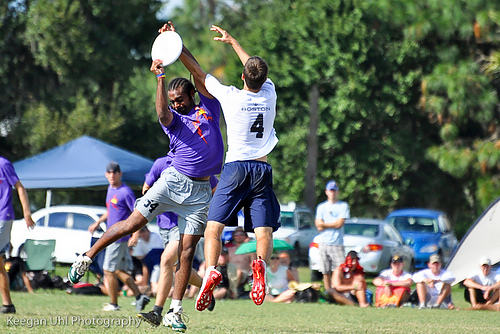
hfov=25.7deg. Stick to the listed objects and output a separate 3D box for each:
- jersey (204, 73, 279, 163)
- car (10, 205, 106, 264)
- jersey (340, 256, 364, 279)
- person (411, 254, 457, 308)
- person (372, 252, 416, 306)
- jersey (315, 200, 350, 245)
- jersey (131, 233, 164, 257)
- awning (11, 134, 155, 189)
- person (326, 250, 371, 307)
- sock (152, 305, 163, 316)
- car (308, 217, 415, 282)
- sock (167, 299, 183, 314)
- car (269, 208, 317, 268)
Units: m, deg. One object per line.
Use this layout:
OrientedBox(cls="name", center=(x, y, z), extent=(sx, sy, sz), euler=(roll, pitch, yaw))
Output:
OrientedBox(cls="jersey", center=(-0.102, -1.038, 25.056), extent=(1.801, 3.139, 1.761), euler=(-5, 29, -7))
OrientedBox(cls="car", center=(-5.909, 2.232, 33.854), extent=(3.842, 1.478, 1.837), euler=(-4, 0, 2))
OrientedBox(cls="jersey", center=(2.780, 2.738, 29.578), extent=(0.556, 0.443, 0.466), euler=(8, -15, -1))
OrientedBox(cls="person", center=(4.908, 3.108, 29.179), extent=(0.968, 1.308, 1.250), euler=(-1, -8, 8))
OrientedBox(cls="person", center=(3.915, 3.100, 29.883), extent=(0.845, 1.482, 0.818), euler=(4, -28, 13))
OrientedBox(cls="jersey", center=(2.294, 1.548, 30.291), extent=(0.906, 1.237, 0.492), euler=(4, -6, 0))
OrientedBox(cls="jersey", center=(-2.972, 2.269, 31.686), extent=(0.887, 0.384, 0.907), euler=(-22, 15, -36))
OrientedBox(cls="awning", center=(-5.039, -0.099, 32.376), extent=(3.724, 1.795, 1.200), euler=(5, -6, -12))
OrientedBox(cls="person", center=(2.649, 3.050, 29.432), extent=(1.067, 1.489, 1.227), euler=(3, -15, -13))
OrientedBox(cls="sock", center=(-2.112, 3.266, 24.961), extent=(0.163, 0.264, 0.181), euler=(1, -4, 2))
OrientedBox(cls="car", center=(2.398, 2.713, 33.212), extent=(2.493, 2.144, 5.564), euler=(1, 0, -10))
OrientedBox(cls="sock", center=(-1.726, 3.189, 24.953), extent=(0.303, 0.344, 0.217), euler=(3, -6, 7))
OrientedBox(cls="car", center=(1.454, 2.315, 38.234), extent=(1.573, 1.866, 3.210), euler=(-1, 3, 31))
